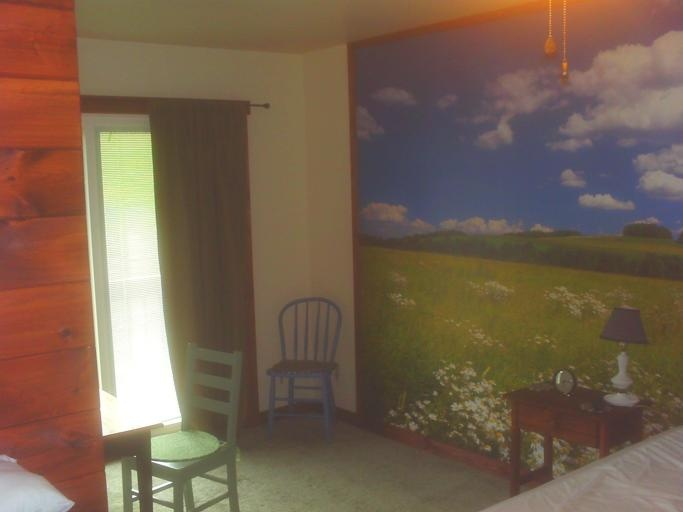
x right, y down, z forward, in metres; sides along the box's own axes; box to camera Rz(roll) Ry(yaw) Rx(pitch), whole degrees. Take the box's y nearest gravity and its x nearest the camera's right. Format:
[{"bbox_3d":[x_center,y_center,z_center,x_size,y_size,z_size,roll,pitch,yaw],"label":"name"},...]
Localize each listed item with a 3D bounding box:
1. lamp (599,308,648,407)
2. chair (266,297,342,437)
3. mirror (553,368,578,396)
[{"bbox_3d":[1.458,0.509,2.827,0.201,0.491,0.256,6,12,41],"label":"lamp"},{"bbox_3d":[-0.285,0.832,4.213,0.605,0.956,0.626,-3,9,-6],"label":"chair"},{"bbox_3d":[1.183,0.666,2.904,0.119,0.149,0.122,-3,5,24],"label":"mirror"}]
